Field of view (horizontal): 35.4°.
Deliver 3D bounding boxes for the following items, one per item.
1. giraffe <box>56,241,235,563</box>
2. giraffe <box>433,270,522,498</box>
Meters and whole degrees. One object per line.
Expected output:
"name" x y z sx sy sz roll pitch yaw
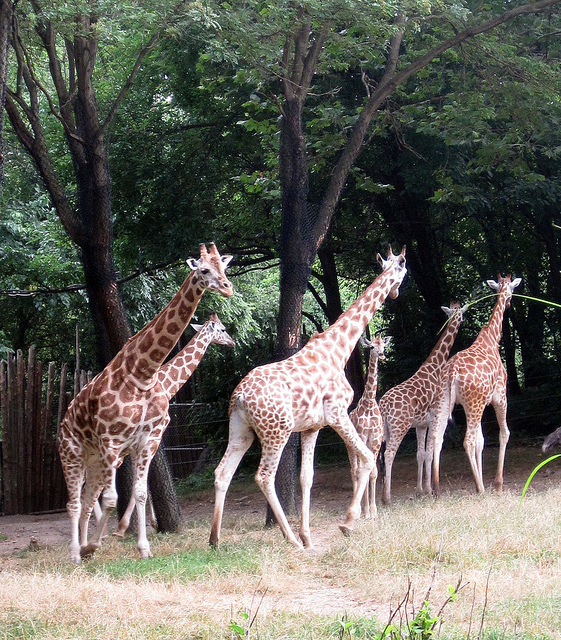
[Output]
"giraffe" -1.390 0.817 8.245 2.107 2.792 0.894 -6 -4 38
"giraffe" 2.413 0.785 10.843 1.173 2.767 1.766 -4 -3 14
